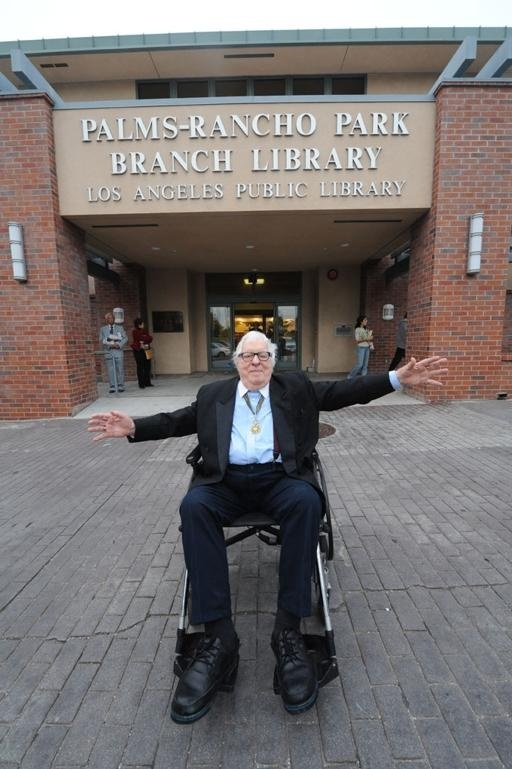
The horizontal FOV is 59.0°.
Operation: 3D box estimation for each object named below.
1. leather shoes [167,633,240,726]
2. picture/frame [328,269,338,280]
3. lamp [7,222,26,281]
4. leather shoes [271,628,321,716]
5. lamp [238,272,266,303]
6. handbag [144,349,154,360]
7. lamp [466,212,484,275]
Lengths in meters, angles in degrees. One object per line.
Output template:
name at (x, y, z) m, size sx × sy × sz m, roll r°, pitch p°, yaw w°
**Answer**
leather shoes at (-0.186, 1.137, 1.757) m, size 0.119 × 0.183 × 0.376 m, roll -3°, pitch -14°, yaw 12°
picture/frame at (2.121, -3.058, 12.615) m, size 0.320 × 0.347 × 0.148 m, roll -4°, pitch 9°, yaw -20°
lamp at (-3.498, -1.937, 6.710) m, size 0.206 × 0.831 × 0.232 m, roll -6°, pitch 10°, yaw -29°
leather shoes at (0.147, 1.120, 1.745) m, size 0.099 × 0.133 × 0.307 m, roll -7°, pitch -8°, yaw 3°
lamp at (-0.057, -2.922, 13.748) m, size 0.783 × 0.808 × 0.191 m, roll 0°, pitch 5°, yaw -1°
handbag at (-2.467, -0.690, 10.467) m, size 0.066 × 0.196 × 0.309 m, roll -4°, pitch 13°, yaw 14°
lamp at (3.397, -2.173, 7.101) m, size 0.222 × 0.912 × 0.324 m, roll 3°, pitch 10°, yaw 25°
